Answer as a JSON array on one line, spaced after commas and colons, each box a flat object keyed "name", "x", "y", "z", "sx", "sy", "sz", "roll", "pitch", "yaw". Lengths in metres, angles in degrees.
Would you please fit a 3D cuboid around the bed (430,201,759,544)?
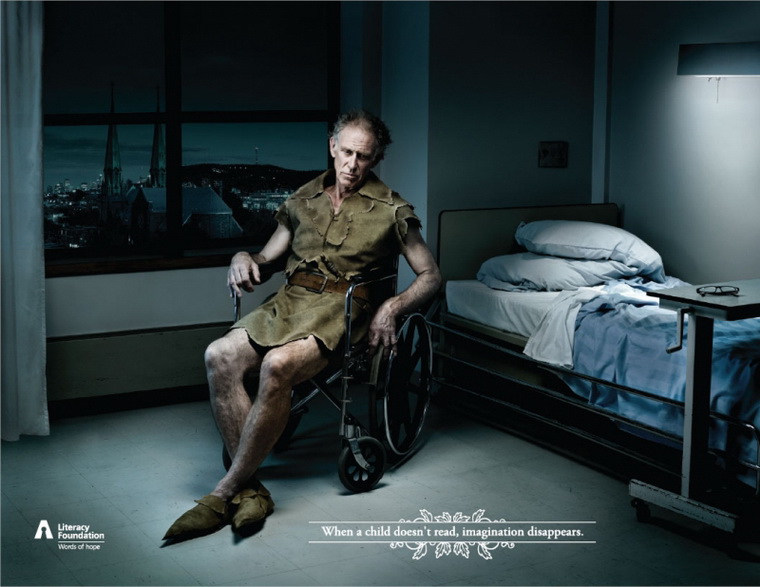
[{"name": "bed", "x": 1.086, "y": 0.391, "z": 3.147, "sx": 0.962, "sy": 0.953, "sz": 1.583, "roll": -7, "pitch": 24, "yaw": -30}]

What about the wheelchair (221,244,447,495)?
[{"name": "wheelchair", "x": -0.394, "y": 0.193, "z": 2.743, "sx": 0.827, "sy": 1.182, "sz": 1.004, "roll": 4, "pitch": 5, "yaw": 38}]

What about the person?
[{"name": "person", "x": -0.370, "y": 0.021, "z": 2.643, "sx": 1.132, "sy": 1.599, "sz": 0.739, "roll": -7, "pitch": 10, "yaw": -40}]

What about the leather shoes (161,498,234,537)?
[{"name": "leather shoes", "x": -0.652, "y": 0.813, "z": 2.241, "sx": 0.103, "sy": 0.086, "sz": 0.248, "roll": 8, "pitch": 7, "yaw": 39}]
